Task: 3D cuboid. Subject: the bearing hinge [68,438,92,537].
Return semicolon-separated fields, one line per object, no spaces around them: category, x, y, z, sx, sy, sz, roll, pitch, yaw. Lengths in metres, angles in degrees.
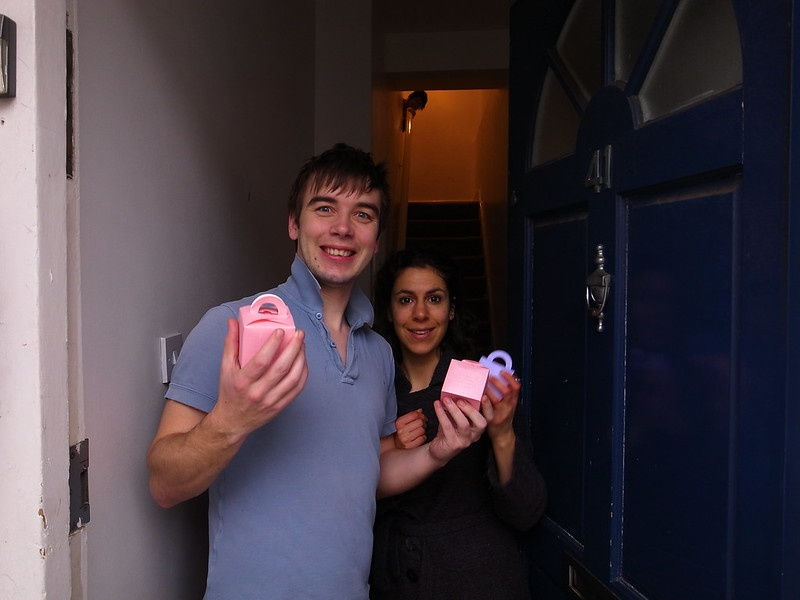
bearing hinge;-0.632;0.364;1.288;0.027;0.175;0.096;1;1;-8

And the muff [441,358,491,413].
muff;0.171;0.217;1.707;0.144;0.133;0.158;2;-12;18

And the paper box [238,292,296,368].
paper box;-0.254;0.062;1.227;0.086;0.133;0.087;20;-1;-18

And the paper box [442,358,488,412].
paper box;0.179;0.220;1.685;0.106;0.117;0.108;16;-7;14
